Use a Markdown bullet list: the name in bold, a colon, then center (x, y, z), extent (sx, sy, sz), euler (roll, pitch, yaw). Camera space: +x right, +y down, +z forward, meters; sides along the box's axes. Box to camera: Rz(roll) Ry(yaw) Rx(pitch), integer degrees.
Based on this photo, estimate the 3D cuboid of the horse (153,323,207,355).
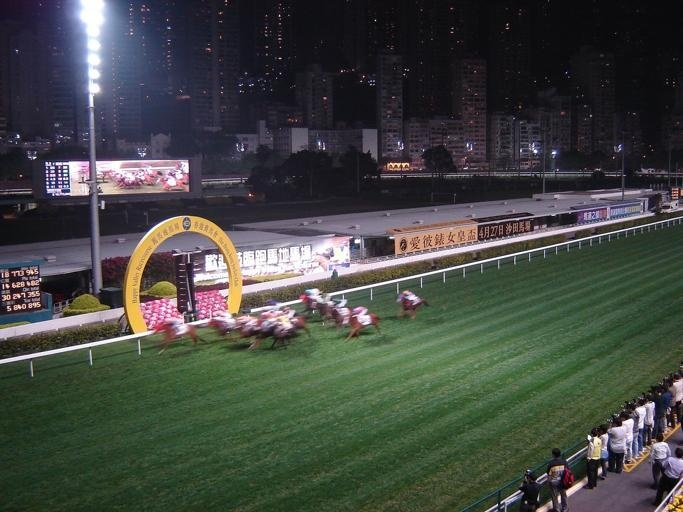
- **horse**: center (-4.897, 2.339, 19.689), extent (1.354, 0.988, 1.748), euler (-5, 5, -12)
